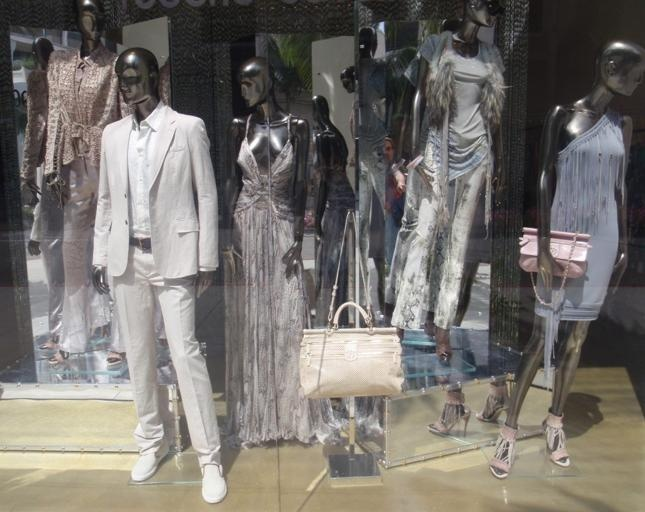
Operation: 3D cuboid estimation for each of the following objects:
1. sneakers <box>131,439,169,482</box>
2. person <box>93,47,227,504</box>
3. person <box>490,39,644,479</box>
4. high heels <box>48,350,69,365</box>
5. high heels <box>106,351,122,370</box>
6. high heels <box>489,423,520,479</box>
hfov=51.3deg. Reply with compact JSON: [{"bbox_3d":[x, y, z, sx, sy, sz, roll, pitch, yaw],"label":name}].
[{"bbox_3d":[-0.853,1.012,3.367,0.082,0.105,0.245,6,27,15],"label":"sneakers"},{"bbox_3d":[-0.759,0.081,3.232,0.730,2.092,0.270,3,7,16],"label":"person"},{"bbox_3d":[1.240,0.013,3.310,0.539,2.077,0.179,4,7,18],"label":"person"},{"bbox_3d":[-1.382,0.538,3.519,0.091,0.074,0.057,2,-8,-3],"label":"high heels"},{"bbox_3d":[-1.086,0.548,3.500,0.064,0.099,0.087,-2,-1,0],"label":"high heels"},{"bbox_3d":[0.914,0.995,3.370,0.088,0.188,0.295,2,2,18],"label":"high heels"}]
